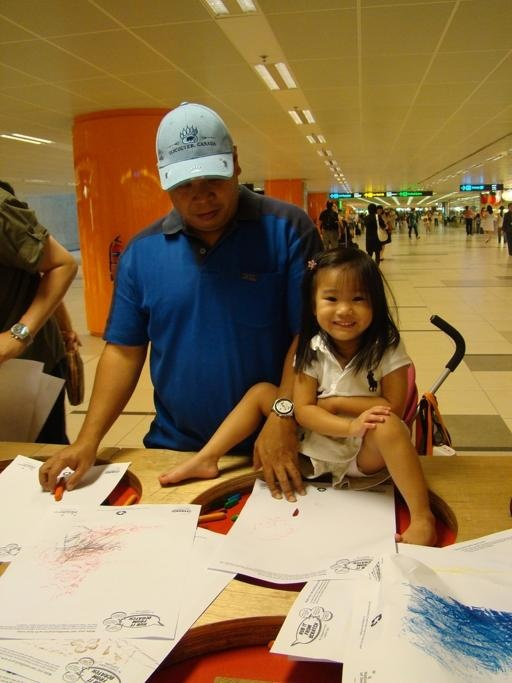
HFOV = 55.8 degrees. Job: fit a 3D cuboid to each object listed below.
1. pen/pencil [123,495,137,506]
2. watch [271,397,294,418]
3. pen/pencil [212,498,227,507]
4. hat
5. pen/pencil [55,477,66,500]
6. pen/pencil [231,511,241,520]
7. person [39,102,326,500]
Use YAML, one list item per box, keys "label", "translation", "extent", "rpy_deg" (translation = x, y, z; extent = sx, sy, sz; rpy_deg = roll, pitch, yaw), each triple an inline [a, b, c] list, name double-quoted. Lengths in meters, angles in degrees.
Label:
- label: "pen/pencil"
  translation: [-0.271, 0.340, 1.047]
  extent: [0.011, 0.011, 0.039]
  rpy_deg: [8, 12, 14]
- label: "watch"
  translation: [0.065, 0.146, 1.106]
  extent: [0.041, 0.013, 0.041]
  rpy_deg: [-3, 34, -2]
- label: "pen/pencil"
  translation: [-0.082, 0.363, 1.099]
  extent: [0.007, 0.013, 0.021]
  rpy_deg: [-6, 5, 44]
- label: "hat"
  translation: [-0.138, -0.429, 1.112]
  extent: [0.152, 0.124, 0.232]
  rpy_deg: [-6, 47, 1]
- label: "pen/pencil"
  translation: [-0.427, 0.319, 1.061]
  extent: [0.012, 0.010, 0.053]
  rpy_deg: [9, 25, -12]
- label: "pen/pencil"
  translation: [-0.042, 0.359, 1.015]
  extent: [0.024, 0.005, 0.024]
  rpy_deg: [-2, 1, 2]
- label: "person"
  translation: [-0.136, -0.117, 1.247]
  extent: [0.662, 0.883, 0.593]
  rpy_deg: [2, 10, 12]
